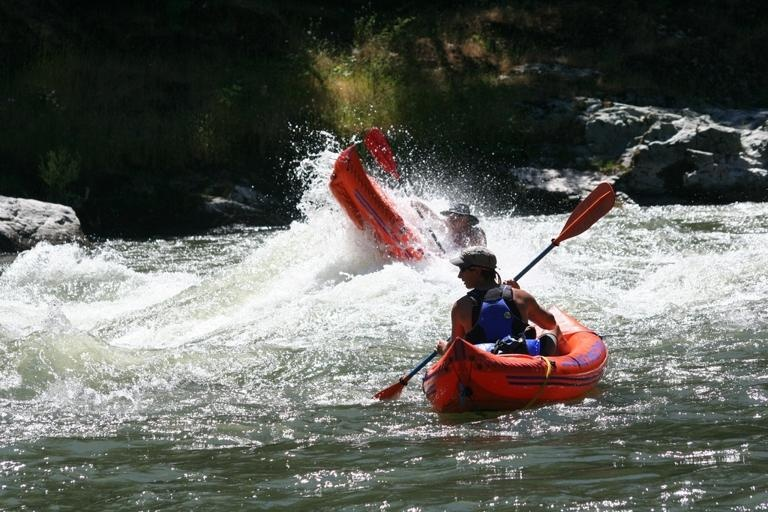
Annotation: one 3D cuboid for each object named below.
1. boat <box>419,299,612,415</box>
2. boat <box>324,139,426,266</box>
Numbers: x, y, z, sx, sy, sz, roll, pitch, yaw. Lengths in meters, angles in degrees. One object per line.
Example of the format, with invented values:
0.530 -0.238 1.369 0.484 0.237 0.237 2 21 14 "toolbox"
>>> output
2.998 2.252 27.710 3.296 1.319 4.622 5 7 29 "boat"
-0.237 -1.118 30.284 1.096 3.955 1.175 -11 36 44 "boat"
